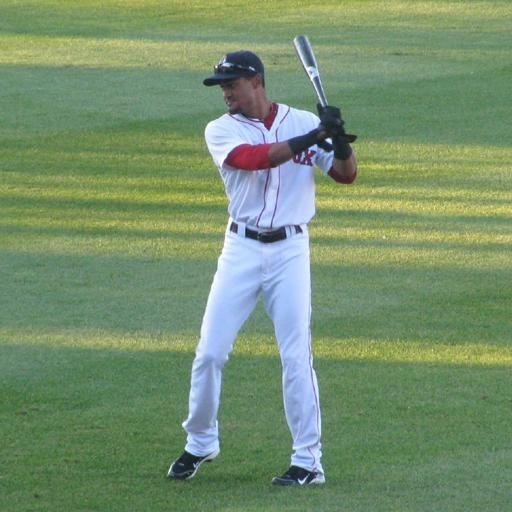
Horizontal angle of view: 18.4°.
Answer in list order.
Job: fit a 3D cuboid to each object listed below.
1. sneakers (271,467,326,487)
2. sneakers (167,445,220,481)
[{"bbox_3d":[0.406,1.951,14.138,0.464,0.192,0.169,1,-3,-11],"label":"sneakers"},{"bbox_3d":[-0.587,1.861,14.246,0.527,0.228,0.196,-38,45,-6],"label":"sneakers"}]
